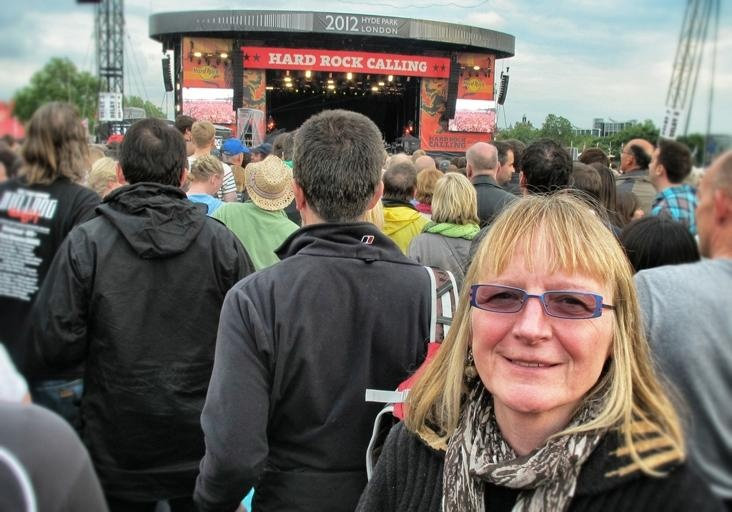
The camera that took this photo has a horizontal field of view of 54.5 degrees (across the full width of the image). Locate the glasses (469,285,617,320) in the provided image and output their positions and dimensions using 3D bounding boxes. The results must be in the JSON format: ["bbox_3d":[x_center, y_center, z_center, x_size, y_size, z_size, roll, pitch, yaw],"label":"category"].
[{"bbox_3d":[0.433,0.120,1.832,0.325,0.085,0.037,9,12,18],"label":"glasses"}]

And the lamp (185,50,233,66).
[{"bbox_3d":[-5.793,-7.274,26.156,1.489,0.498,0.156,1,12,-17],"label":"lamp"}]
